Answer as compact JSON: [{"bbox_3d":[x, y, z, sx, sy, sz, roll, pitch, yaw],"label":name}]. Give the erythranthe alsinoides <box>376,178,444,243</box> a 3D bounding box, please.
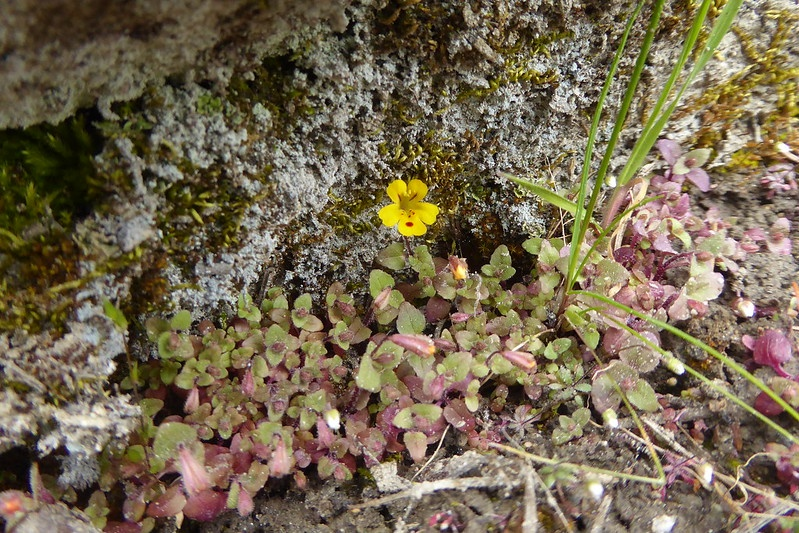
[{"bbox_3d":[0.048,-0.287,3.019,0.205,0.257,0.261,22,49,27],"label":"erythranthe alsinoides"}]
